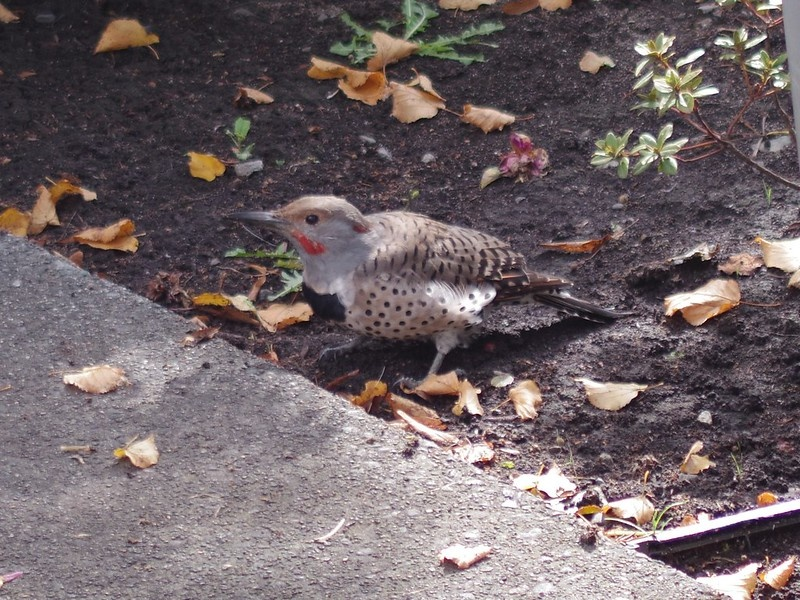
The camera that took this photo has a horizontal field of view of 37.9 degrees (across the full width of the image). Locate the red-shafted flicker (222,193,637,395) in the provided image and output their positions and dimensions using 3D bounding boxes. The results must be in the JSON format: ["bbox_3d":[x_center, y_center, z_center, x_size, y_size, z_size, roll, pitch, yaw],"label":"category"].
[{"bbox_3d":[0.035,-0.126,5.646,1.537,0.689,0.729,22,63,11],"label":"red-shafted flicker"}]
